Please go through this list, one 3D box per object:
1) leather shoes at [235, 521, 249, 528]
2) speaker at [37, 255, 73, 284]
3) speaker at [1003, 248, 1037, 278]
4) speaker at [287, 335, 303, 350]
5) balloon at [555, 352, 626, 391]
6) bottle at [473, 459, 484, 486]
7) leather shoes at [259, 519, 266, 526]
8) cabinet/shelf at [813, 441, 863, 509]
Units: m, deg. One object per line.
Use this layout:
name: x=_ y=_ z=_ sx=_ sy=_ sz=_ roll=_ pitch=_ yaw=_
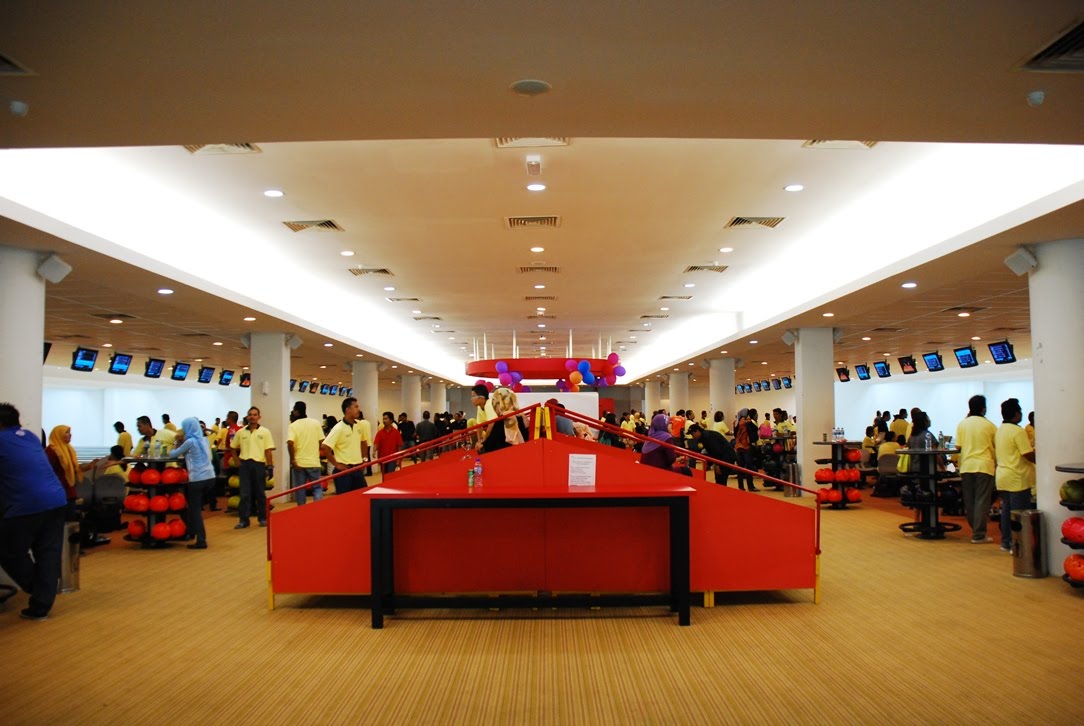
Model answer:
leather shoes: x=-5.073 y=2.695 z=11.750 sx=0.297 sy=0.123 sz=0.096 roll=10 pitch=-12 yaw=-24
speaker: x=-6.145 y=-1.238 z=8.728 sx=0.097 sy=0.350 sz=0.380 roll=49 pitch=5 yaw=36
speaker: x=6.041 y=-1.284 z=8.814 sx=0.280 sy=0.329 sz=0.401 roll=-1 pitch=0 yaw=2
speaker: x=-5.455 y=-0.496 z=15.437 sx=0.169 sy=0.234 sz=0.233 roll=33 pitch=-33 yaw=-26
balloon: x=1.067 y=0.373 z=19.363 sx=1.338 sy=0.480 sz=1.322 roll=-17 pitch=-14 yaw=42
bottle: x=-0.643 y=1.105 z=7.160 sx=0.082 sy=0.221 sz=0.119 roll=-1 pitch=0 yaw=9
leather shoes: x=-4.743 y=2.676 z=11.897 sx=0.122 sy=0.080 sz=0.111 roll=-1 pitch=2 yaw=0
cabinet/shelf: x=5.990 y=2.186 z=13.971 sx=0.976 sy=1.243 sz=0.974 roll=-2 pitch=-3 yaw=13
